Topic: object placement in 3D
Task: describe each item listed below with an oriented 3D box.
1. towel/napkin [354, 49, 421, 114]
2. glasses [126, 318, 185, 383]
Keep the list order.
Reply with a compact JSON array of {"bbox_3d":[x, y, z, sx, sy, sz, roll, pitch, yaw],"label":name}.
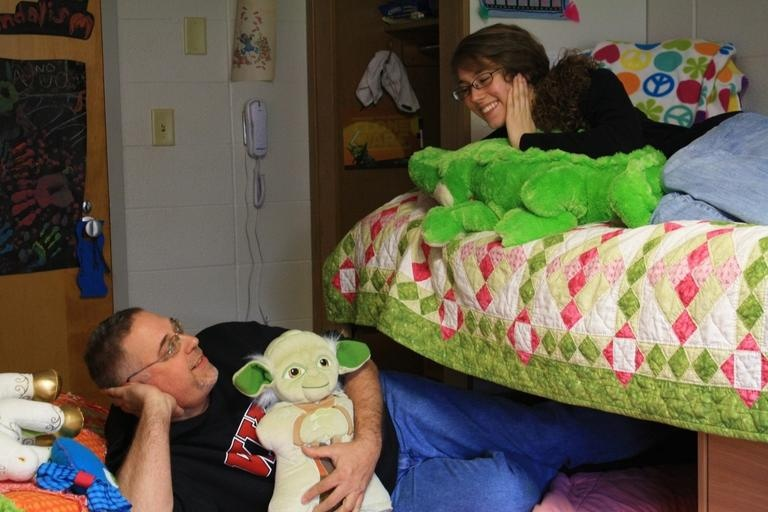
[{"bbox_3d":[0.013,-1.043,3.775,0.326,0.337,0.087,-3,13,-6],"label":"towel/napkin"},{"bbox_3d":[-0.652,0.290,1.815,0.158,0.048,0.155,-39,16,15],"label":"glasses"}]
